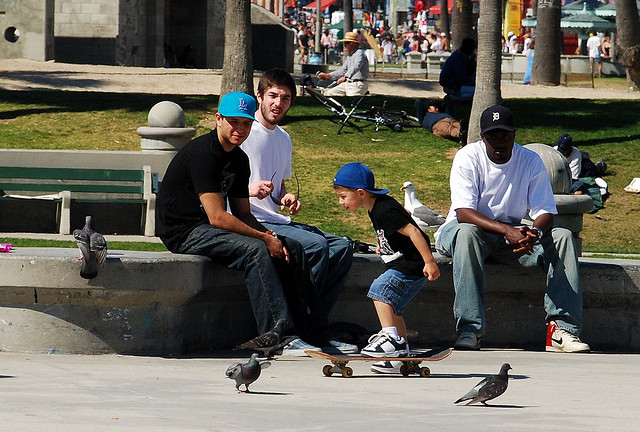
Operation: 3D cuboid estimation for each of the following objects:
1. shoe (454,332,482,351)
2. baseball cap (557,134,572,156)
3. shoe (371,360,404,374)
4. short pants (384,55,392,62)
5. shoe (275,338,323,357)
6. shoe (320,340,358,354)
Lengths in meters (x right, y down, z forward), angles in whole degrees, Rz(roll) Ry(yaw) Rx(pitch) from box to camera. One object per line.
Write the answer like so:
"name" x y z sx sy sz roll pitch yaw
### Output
"shoe" 2.097 1.797 20.970 0.182 0.187 0.461 7 -5 38
"baseball cap" 4.701 -1.338 28.273 0.226 0.405 0.376 2 6 16
"shoe" 0.923 2.091 20.268 0.451 0.195 0.172 4 -2 -9
"short pants" 2.793 -6.423 60.208 0.238 0.385 0.296 -10 17 -43
"shoe" -0.300 1.857 20.625 0.689 0.254 0.253 -1 -4 6
"shoe" 0.264 1.858 20.711 0.502 0.184 0.192 -1 1 2
